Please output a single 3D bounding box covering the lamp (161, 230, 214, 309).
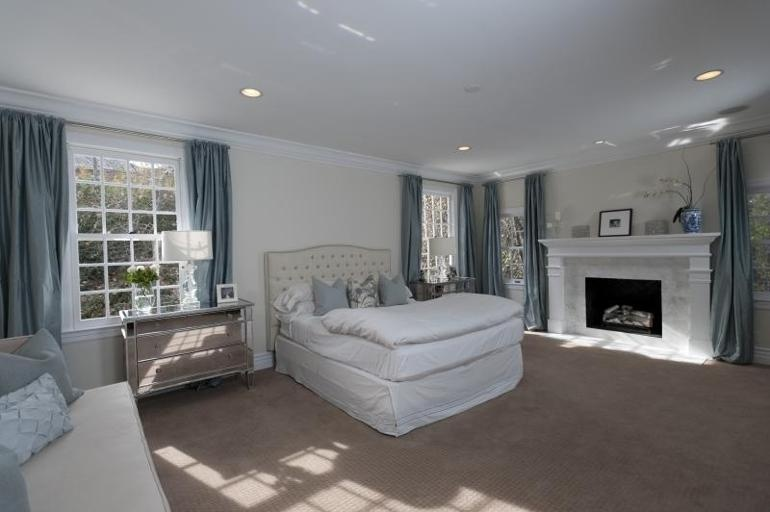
[{"bbox_3d":[-2.079,0.110,4.748,0.523,0.784,0.488,-4,3,-19],"label":"lamp"}]

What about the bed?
[{"bbox_3d":[-0.094,0.827,5.014,1.870,1.424,2.241,-2,0,-39],"label":"bed"}]

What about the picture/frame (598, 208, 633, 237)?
[{"bbox_3d":[3.093,-0.454,6.036,0.035,0.351,0.369,19,-19,-34],"label":"picture/frame"}]

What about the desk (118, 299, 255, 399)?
[{"bbox_3d":[-2.109,0.823,4.780,1.413,1.155,0.868,-1,0,-37],"label":"desk"}]

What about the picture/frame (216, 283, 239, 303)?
[{"bbox_3d":[-1.709,0.384,4.869,0.198,0.200,0.019,0,-8,-29],"label":"picture/frame"}]
